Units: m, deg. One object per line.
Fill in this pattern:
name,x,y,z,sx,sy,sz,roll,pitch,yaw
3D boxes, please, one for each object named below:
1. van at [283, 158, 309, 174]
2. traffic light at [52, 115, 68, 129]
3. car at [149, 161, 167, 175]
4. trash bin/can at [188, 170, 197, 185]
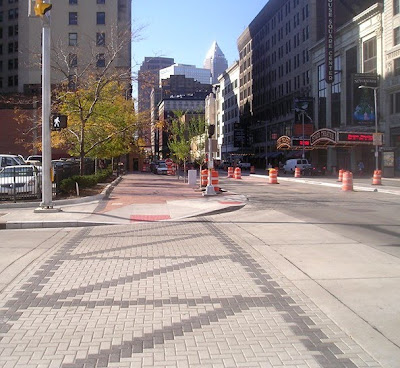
van,12.044,-2.248,55.620,1.685,1.465,3.299,-1,10,-13
traffic light,-4.735,-2.069,14.952,0.704,0.511,0.336,1,3,29
car,-5.447,-2.370,60.787,1.745,1.275,4.069,-1,-1,-15
trash bin/can,-0.569,-0.493,32.167,0.545,1.069,1.218,0,3,2
